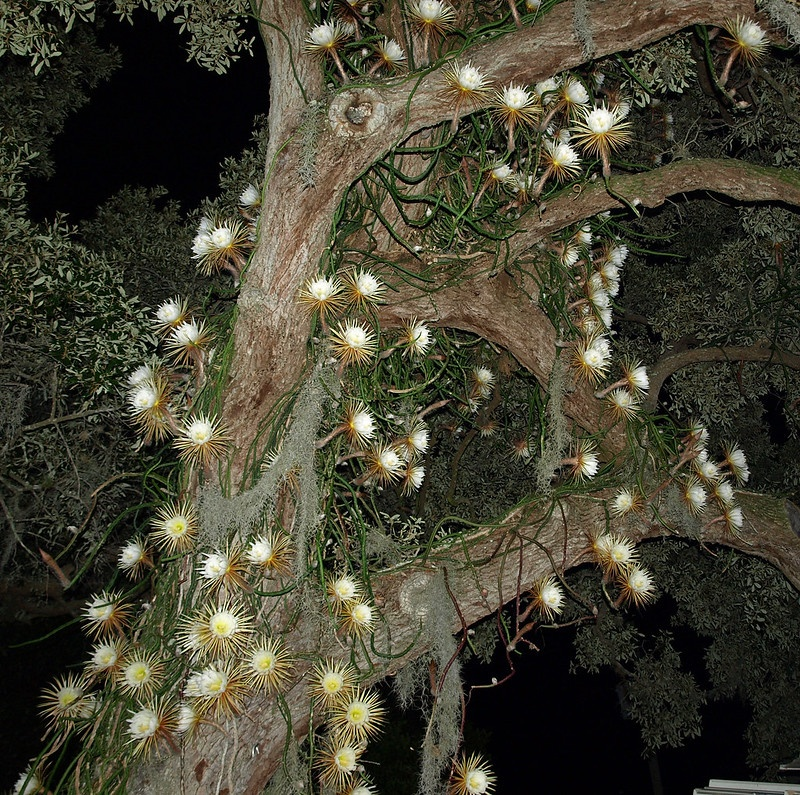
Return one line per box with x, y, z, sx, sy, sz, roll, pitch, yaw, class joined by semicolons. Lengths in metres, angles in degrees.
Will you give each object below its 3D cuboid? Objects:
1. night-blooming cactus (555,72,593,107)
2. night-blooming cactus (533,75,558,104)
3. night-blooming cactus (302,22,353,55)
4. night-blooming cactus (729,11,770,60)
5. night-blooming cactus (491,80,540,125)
0.739;-1.291;3.604;0.067;0.145;0.124;19;32;34;night-blooming cactus
0.642;-1.344;3.727;0.093;0.058;0.144;-7;62;22;night-blooming cactus
-0.307;-1.478;3.514;0.117;0.130;0.077;-11;64;-27;night-blooming cactus
1.395;-1.439;3.404;0.142;0.182;0.082;25;20;10;night-blooming cactus
0.471;-1.219;3.447;0.155;0.088;0.199;6;61;-28;night-blooming cactus
